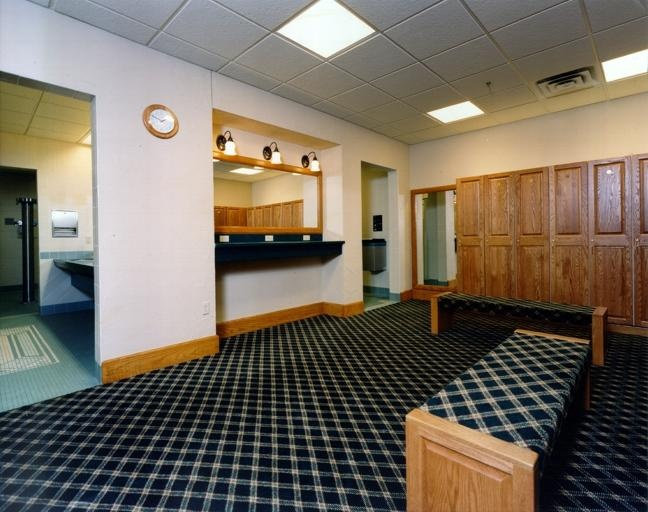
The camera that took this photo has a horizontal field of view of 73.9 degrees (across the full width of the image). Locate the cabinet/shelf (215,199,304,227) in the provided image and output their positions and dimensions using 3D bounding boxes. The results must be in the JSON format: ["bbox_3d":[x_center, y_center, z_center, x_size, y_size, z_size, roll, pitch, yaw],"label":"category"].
[{"bbox_3d":[-0.846,-0.576,5.932,0.102,0.364,1.478,6,10,43],"label":"cabinet/shelf"}]

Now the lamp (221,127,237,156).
[{"bbox_3d":[-1.218,-1.486,5.580,0.170,0.362,0.244,-2,7,-12],"label":"lamp"}]

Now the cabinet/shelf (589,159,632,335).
[{"bbox_3d":[3.684,-0.199,5.517,0.593,2.069,0.235,5,9,39],"label":"cabinet/shelf"}]

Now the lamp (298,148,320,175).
[{"bbox_3d":[-0.209,-1.454,6.601,0.300,0.394,0.312,-1,-2,-44],"label":"lamp"}]
